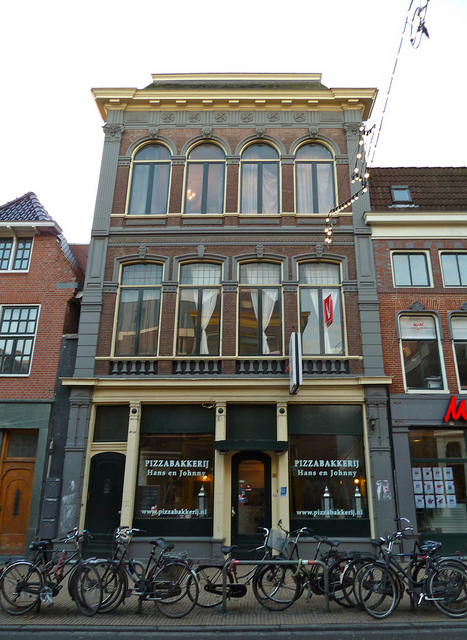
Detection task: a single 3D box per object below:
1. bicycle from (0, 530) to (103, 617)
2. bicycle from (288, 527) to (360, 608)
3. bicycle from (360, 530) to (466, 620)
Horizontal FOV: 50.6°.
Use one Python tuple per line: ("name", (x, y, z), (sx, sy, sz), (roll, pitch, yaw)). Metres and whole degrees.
("bicycle", (-2.961, 4.265, 8.119), (1.827, 1.113, 0.864), (-3, -27, 1))
("bicycle", (1.523, 4.133, 8.322), (0.700, 1.133, 1.764), (20, -29, 1))
("bicycle", (2.843, 4.158, 7.871), (2.099, 1.375, 0.884), (-1, -33, 1))
